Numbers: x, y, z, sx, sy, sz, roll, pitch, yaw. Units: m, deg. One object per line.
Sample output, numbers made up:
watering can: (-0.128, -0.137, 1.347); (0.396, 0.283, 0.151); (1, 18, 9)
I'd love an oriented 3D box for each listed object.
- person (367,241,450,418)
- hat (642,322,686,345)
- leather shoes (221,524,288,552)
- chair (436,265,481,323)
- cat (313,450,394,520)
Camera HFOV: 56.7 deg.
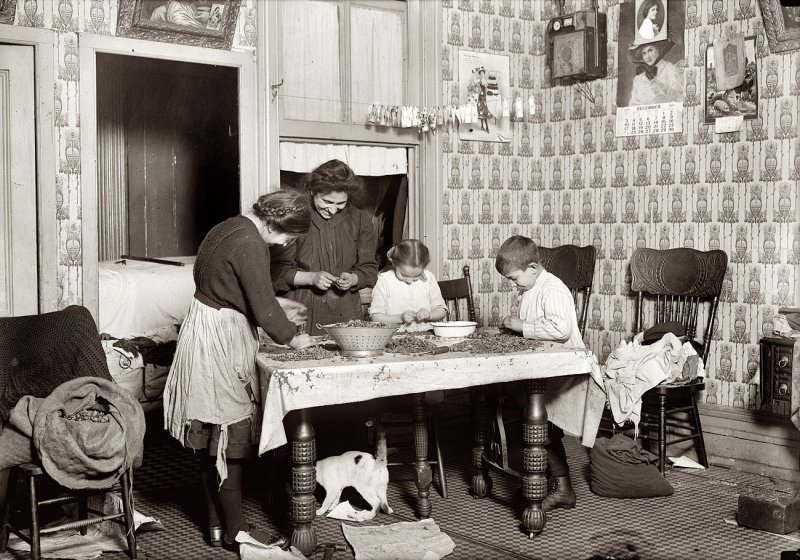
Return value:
person: (0.089, 0.322, 5.619); (0.468, 1.206, 0.541); (-4, 12, 1)
hat: (2.122, 0.436, 5.958); (0.321, 0.189, 0.309); (-6, 11, -38)
leather shoes: (-0.873, 1.551, 4.482); (0.349, 0.126, 0.170); (5, 1, -4)
chair: (0.492, 0.118, 6.473); (0.266, 0.589, 0.317); (-7, 22, -11)
cat: (-0.326, 1.360, 4.946); (0.524, 0.467, 0.301); (1, -4, 24)
